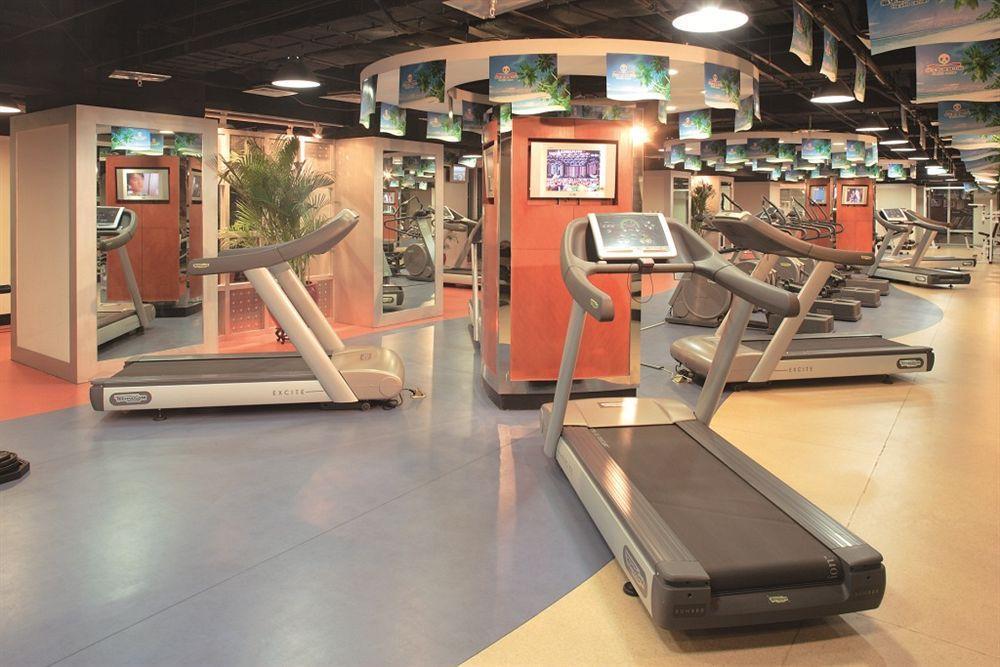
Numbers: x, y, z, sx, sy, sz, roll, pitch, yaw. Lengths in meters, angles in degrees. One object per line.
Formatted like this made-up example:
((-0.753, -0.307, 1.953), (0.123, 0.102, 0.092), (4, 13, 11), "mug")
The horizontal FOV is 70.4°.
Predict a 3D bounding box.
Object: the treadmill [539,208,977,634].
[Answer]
((1.176, 0.379, 4.415), (1.260, 2.104, 2.119), (-4, 14, -13), "treadmill")

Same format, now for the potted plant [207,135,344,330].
((-2.940, -1.390, 9.307), (1.199, 2.153, 1.114), (15, 13, 42), "potted plant")

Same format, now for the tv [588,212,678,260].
((0.945, -0.702, 5.082), (0.493, 0.402, 0.111), (-5, -30, -9), "tv")

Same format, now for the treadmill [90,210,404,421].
((-2.180, -0.189, 6.439), (2.554, 1.782, 0.789), (-2, 14, -4), "treadmill")

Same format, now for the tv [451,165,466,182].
((-0.772, -2.812, 12.648), (0.363, 0.328, 0.239), (3, 13, 7), "tv")
